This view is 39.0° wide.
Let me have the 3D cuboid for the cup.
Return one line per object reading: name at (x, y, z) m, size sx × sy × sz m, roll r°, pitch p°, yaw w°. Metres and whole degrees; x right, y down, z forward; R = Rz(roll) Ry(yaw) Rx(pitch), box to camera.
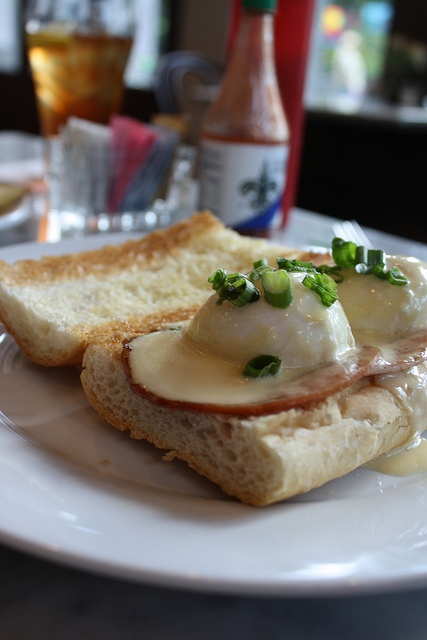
cup at (-0.476, -0.837, 2.132) m, size 0.356 × 0.368 × 0.252 m, roll 1°, pitch 15°, yaw -17°
